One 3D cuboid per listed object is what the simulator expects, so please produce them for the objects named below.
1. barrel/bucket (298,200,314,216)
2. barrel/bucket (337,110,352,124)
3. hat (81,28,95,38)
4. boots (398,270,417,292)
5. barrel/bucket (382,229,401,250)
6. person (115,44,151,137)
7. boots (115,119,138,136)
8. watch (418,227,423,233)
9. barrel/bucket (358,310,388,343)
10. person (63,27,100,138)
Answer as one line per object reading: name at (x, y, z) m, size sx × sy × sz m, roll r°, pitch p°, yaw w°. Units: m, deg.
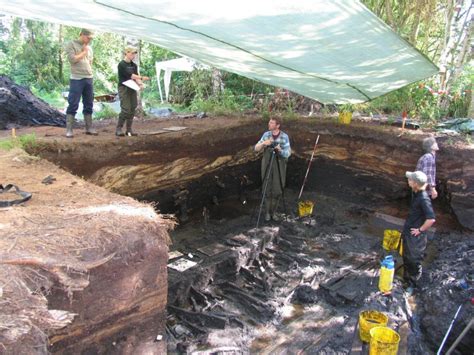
barrel/bucket at (1.827, 0.828, 9.044) m, size 0.435 × 0.318 × 0.380 m, roll 1°, pitch 21°, yaw 14°
barrel/bucket at (3.163, -1.772, 9.909) m, size 0.364 × 0.361 × 0.426 m, roll 8°, pitch 17°, yaw 21°
hat at (-2.600, -2.498, 5.848) m, size 0.193 × 0.125 × 0.273 m, roll -5°, pitch 16°, yaw -22°
boots at (3.074, 1.855, 6.074) m, size 0.215 × 0.338 × 0.205 m, roll -42°, pitch 36°, yaw 0°
barrel/bucket at (3.372, 1.355, 7.332) m, size 0.342 × 0.436 × 0.236 m, roll 9°, pitch 18°, yaw 25°
person at (-2.225, -1.729, 6.933) m, size 0.618 × 1.754 × 0.616 m, roll 0°, pitch 17°, yaw -6°
boots at (-2.413, -1.044, 7.205) m, size 0.441 × 0.378 × 0.398 m, roll 14°, pitch 15°, yaw 35°
watch at (3.098, 0.885, 5.713) m, size 0.076 × 0.068 × 0.019 m, roll 12°, pitch 10°, yaw 32°
barrel/bucket at (1.865, 2.037, 4.653) m, size 0.446 × 0.287 × 0.361 m, roll -3°, pitch 9°, yaw -30°
person at (-2.958, -1.708, 6.298) m, size 0.608 × 1.918 × 1.009 m, roll -6°, pitch 18°, yaw -25°
